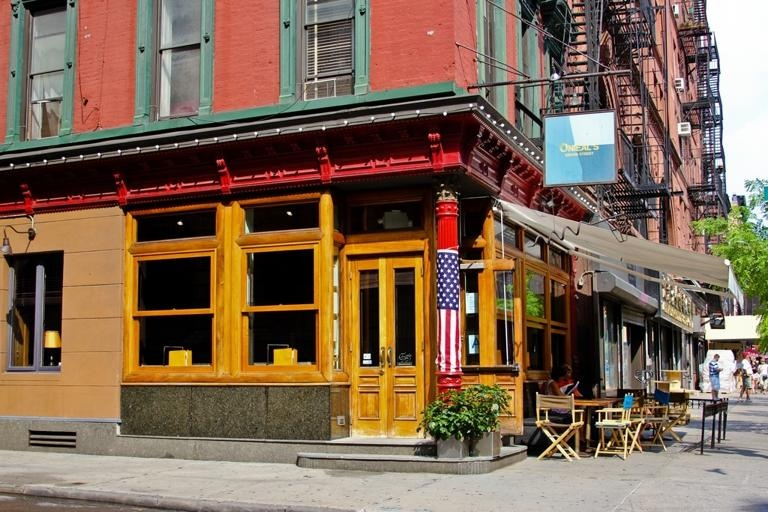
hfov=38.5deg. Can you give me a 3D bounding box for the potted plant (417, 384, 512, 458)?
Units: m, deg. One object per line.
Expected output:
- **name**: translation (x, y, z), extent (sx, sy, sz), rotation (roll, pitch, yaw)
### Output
- **potted plant**: translation (1.897, 3.874, 25.087), extent (1.634, 1.328, 1.843), rotation (-2, -5, 11)
